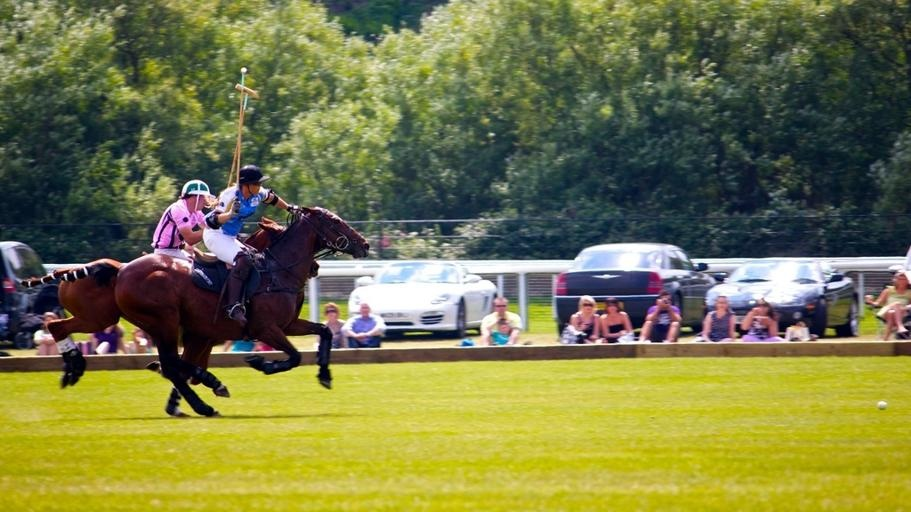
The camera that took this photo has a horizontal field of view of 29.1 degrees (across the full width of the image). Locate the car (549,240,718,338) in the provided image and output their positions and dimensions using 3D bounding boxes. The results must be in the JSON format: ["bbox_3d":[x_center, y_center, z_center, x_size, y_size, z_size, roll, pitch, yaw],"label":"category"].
[{"bbox_3d":[4.917,0.668,50.151,2.761,1.123,4.806,-1,0,29],"label":"car"}]

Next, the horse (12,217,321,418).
[{"bbox_3d":[-7.170,1.443,44.432,15.379,4.316,4.984,-1,-1,-17],"label":"horse"}]

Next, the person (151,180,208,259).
[{"bbox_3d":[-6.670,-0.906,44.814,1.959,1.880,1.129,3,0,16],"label":"person"}]
